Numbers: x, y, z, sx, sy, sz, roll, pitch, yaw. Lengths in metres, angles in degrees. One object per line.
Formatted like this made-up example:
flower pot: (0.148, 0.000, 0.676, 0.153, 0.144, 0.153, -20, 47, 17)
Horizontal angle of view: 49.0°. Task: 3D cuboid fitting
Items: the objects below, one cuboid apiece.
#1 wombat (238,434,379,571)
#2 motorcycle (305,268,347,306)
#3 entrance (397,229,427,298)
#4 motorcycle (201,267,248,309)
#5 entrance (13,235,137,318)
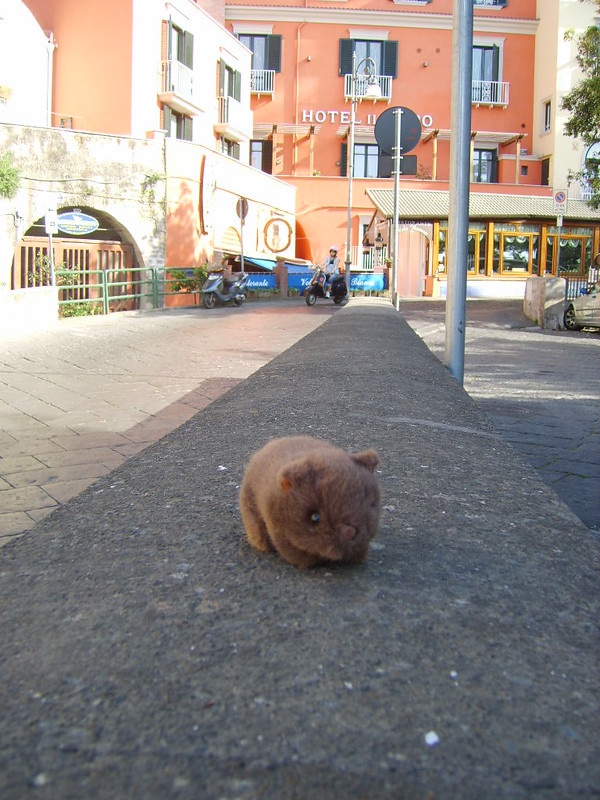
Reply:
wombat: (0.023, 0.245, 1.555, 0.245, 0.272, 0.437, -5, 8, -23)
motorcycle: (0.897, -3.778, 22.588, 0.852, 1.187, 1.824, 14, 14, 33)
entrance: (5.472, -6.640, 31.865, 1.320, 3.222, 0.476, -1, 7, 11)
motorcycle: (-2.482, -3.544, 21.085, 0.704, 1.210, 2.053, 0, 8, 21)
entrance: (-6.838, -3.787, 19.860, 3.099, 2.554, 7.923, -3, 7, -6)
